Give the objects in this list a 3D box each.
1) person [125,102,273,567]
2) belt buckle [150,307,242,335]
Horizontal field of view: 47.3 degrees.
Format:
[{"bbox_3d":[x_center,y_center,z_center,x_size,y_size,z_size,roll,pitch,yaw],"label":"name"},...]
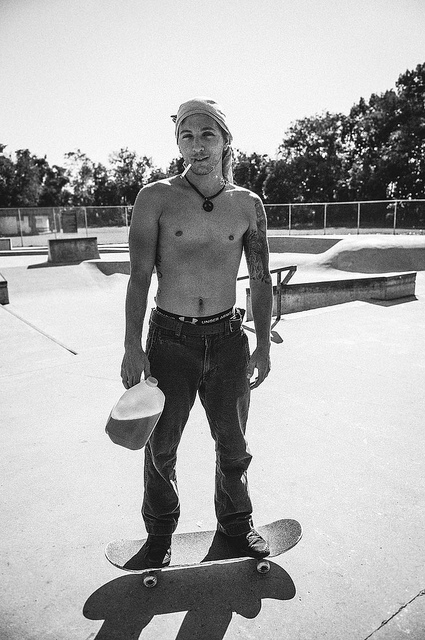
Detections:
[{"bbox_3d":[-0.029,0.045,1.821,0.617,1.631,0.454,-2,9,-13],"label":"person"},{"bbox_3d":[-0.045,0.011,1.802,0.354,0.081,0.147,-4,11,-17],"label":"belt buckle"}]
